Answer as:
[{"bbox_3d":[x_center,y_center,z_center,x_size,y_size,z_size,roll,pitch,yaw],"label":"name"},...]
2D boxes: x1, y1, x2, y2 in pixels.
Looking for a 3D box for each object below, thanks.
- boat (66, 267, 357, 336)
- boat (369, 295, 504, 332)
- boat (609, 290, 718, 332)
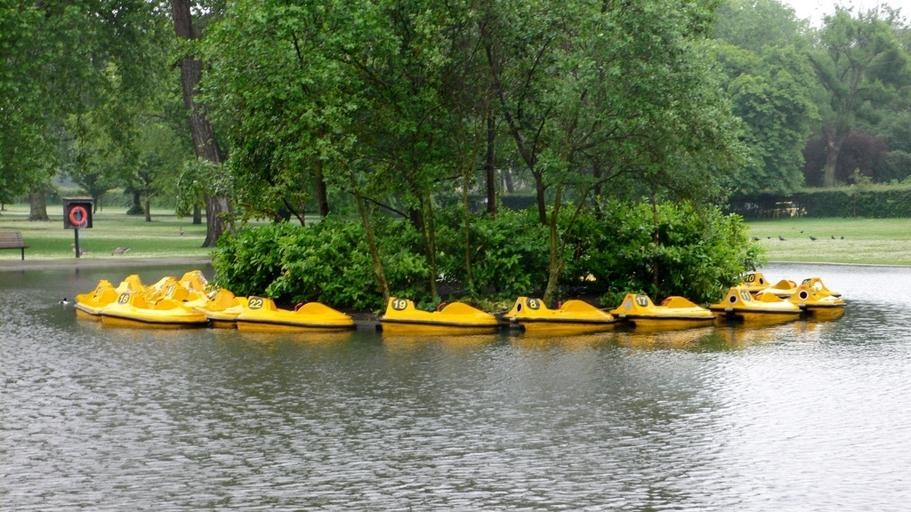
[{"bbox_3d":[-11.165,2.089,59.067,12.031,2.303,2.692,0,3,6],"label":"boat"},{"bbox_3d":[-0.819,2.617,57.460,4.862,1.485,0.632,0,3,0],"label":"boat"},{"bbox_3d":[9.206,2.351,58.907,4.241,1.097,2.221,1,15,0],"label":"boat"}]
